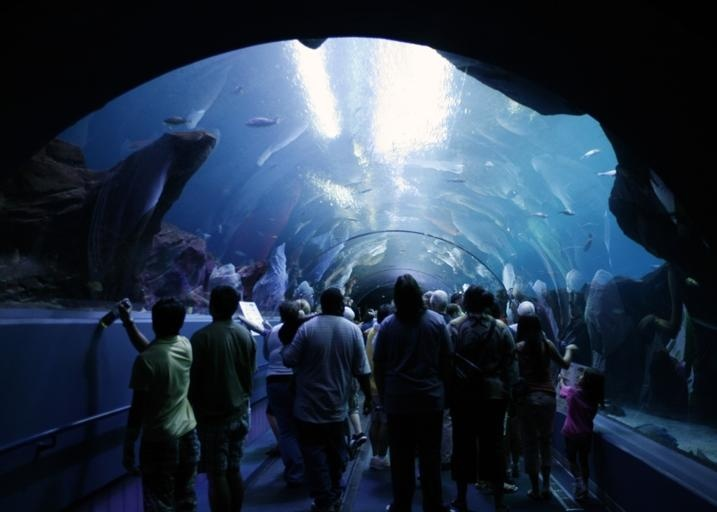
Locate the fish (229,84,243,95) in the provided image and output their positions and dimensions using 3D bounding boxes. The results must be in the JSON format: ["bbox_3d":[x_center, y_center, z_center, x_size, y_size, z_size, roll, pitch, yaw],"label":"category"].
[{"bbox_3d":[-2.146,-2.941,8.493,0.179,0.045,0.162,-25,-21,-15],"label":"fish"}]
